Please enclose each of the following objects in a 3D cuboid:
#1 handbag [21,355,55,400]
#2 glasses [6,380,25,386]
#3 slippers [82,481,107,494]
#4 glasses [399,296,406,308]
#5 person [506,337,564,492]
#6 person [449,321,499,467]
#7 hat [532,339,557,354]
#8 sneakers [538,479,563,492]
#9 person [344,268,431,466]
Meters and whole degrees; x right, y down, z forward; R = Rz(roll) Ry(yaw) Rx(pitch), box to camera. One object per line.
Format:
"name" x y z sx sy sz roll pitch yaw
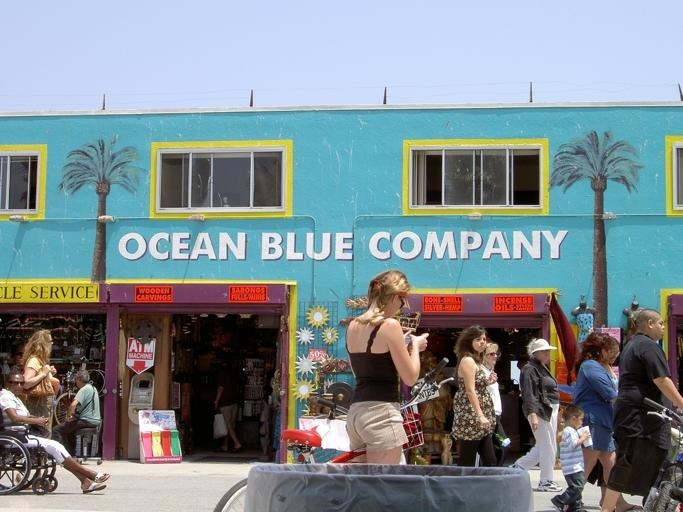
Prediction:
"handbag" -4.652 1.896 17.699 0.530 0.700 0.732 -2 -5 2
"glasses" -4.914 1.904 17.190 0.225 0.098 0.176 2 -10 -18
"slippers" -3.670 3.426 16.868 0.331 0.166 0.368 1 -9 -10
"glasses" 0.686 0.517 12.633 0.092 0.117 0.105 10 7 3
"person" 2.910 2.323 16.700 0.598 2.260 0.977 -3 -9 10
"person" 1.850 1.940 15.842 0.568 1.910 0.633 -6 -11 30
"hat" 3.033 1.322 16.806 0.280 0.133 0.289 0 -3 -34
"sneakers" 3.107 3.407 16.907 0.375 0.172 0.160 0 -3 4
"person" 0.466 1.196 12.465 0.824 2.111 0.461 -1 -9 0
